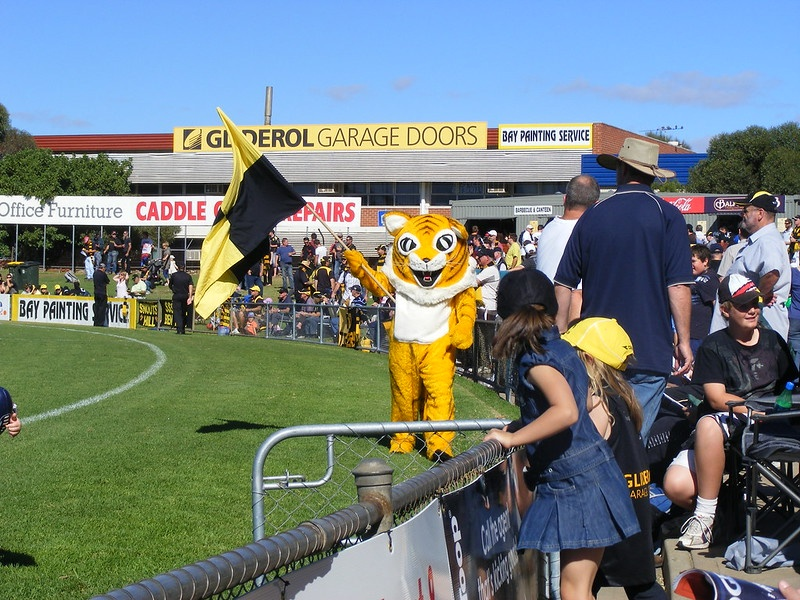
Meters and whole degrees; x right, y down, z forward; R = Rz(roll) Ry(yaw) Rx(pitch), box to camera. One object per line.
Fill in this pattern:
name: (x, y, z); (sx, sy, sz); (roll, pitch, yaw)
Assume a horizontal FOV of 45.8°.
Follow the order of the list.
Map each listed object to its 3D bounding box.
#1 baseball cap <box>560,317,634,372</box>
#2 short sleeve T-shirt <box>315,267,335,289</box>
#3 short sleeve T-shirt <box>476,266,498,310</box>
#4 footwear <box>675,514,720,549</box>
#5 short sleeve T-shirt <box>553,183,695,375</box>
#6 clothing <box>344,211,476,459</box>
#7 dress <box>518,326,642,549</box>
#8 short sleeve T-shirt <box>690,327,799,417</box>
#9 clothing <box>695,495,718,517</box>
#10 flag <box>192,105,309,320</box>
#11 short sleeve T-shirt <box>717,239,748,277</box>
baseball cap: (1.152, 0.245, 5.592); (0.387, 0.240, 0.282); (29, 7, 12)
short sleeve T-shirt: (-1.932, -0.544, 23.766); (0.473, 0.648, 0.254); (2, 12, 16)
short sleeve T-shirt: (1.360, -0.258, 15.108); (0.385, 0.772, 0.677); (2, 14, 3)
footwear: (1.942, 1.529, 6.203); (0.136, 0.142, 0.294); (-3, -6, 27)
short sleeve T-shirt: (1.535, -0.113, 6.598); (0.890, 1.302, 0.460); (0, -10, 22)
clothing: (0.209, 0.152, 9.334); (1.225, 2.047, 0.694); (2, 3, 42)
dress: (0.946, 0.762, 5.072); (0.645, 1.220, 0.490); (1, 2, 7)
short sleeve T-shirt: (2.359, 0.460, 6.677); (0.845, 0.763, 0.508); (-2, -6, 3)
clothing: (1.993, 1.354, 6.168); (0.104, 0.136, 0.135); (0, 37, 24)
flag: (-1.669, -0.945, 9.806); (1.259, 0.388, 2.461); (-36, 39, 11)
short sleeve T-shirt: (3.818, -0.577, 10.766); (0.179, 0.373, 0.335); (14, -27, -10)
